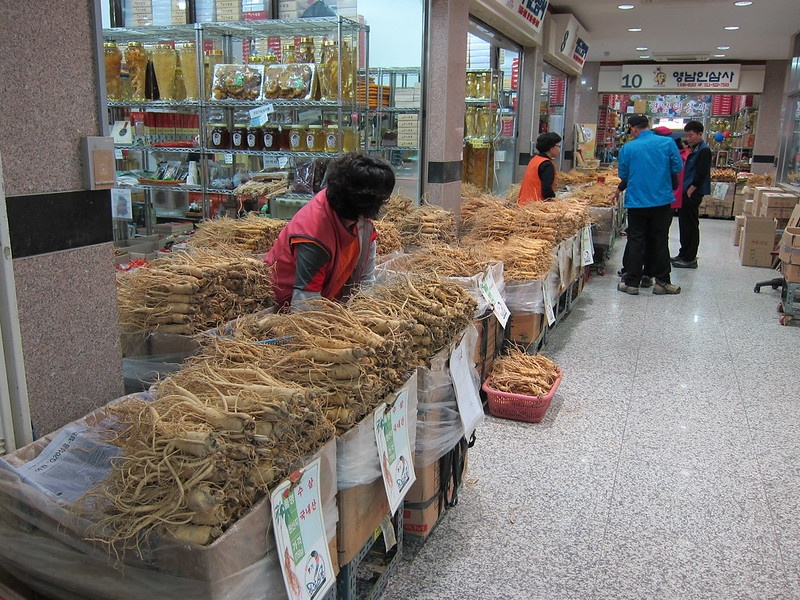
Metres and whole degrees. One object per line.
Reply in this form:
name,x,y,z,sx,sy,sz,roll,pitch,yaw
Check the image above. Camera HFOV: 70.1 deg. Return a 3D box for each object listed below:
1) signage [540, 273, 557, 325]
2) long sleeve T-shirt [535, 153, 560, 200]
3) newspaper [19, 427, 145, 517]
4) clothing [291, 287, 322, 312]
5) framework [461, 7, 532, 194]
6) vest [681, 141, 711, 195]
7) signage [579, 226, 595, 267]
signage,1.090,-0.024,4.194,0.026,0.301,0.349,6,12,18
long sleeve T-shirt,1.432,-1.244,5.723,0.133,0.385,0.316,2,13,3
newspaper,-0.896,0.463,1.647,0.266,0.122,0.239,12,15,27
clothing,-0.386,-0.002,2.306,0.103,0.120,0.110,0,14,8
framework,1.108,-2.273,6.898,0.258,2.400,0.772,8,13,24
vest,3.857,-1.722,7.407,0.379,0.801,0.721,1,12,18
signage,1.819,-0.525,5.534,0.085,0.391,0.366,-1,9,11
